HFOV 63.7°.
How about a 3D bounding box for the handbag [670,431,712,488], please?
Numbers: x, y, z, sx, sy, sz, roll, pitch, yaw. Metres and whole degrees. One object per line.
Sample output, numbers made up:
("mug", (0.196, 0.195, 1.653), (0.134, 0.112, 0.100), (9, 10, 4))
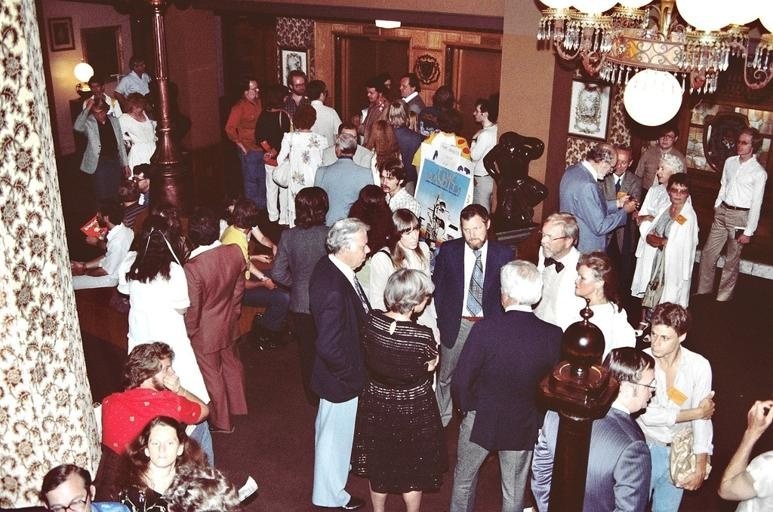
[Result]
("handbag", (2.070, 1.408, 4.312), (0.164, 0.413, 0.109), (0, 14, -14))

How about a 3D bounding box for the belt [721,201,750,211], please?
("belt", (4.243, -0.599, 7.553), (0.297, 0.079, 0.057), (13, 17, 32))

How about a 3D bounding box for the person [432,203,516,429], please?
("person", (0.739, 0.639, 5.452), (0.671, 2.126, 0.658), (3, 19, 3))

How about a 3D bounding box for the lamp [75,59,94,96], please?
("lamp", (-5.780, -3.425, 11.861), (0.300, 0.545, 0.330), (1, 13, 1))

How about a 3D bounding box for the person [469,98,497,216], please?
("person", (1.308, -1.339, 8.394), (0.378, 1.521, 0.478), (5, 13, 8))

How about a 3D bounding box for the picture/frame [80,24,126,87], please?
("picture/frame", (-6.354, -4.517, 13.775), (1.208, 1.138, 0.070), (5, 9, 24))

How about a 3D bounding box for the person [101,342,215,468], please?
("person", (-1.627, 1.113, 4.423), (0.633, 0.959, 0.562), (3, 18, -5))

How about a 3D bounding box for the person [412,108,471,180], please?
("person", (0.650, -1.397, 7.651), (0.657, 0.771, 1.321), (4, 14, 2))

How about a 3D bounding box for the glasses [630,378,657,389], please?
("glasses", (1.585, 0.791, 3.845), (0.150, 0.052, 0.152), (5, 6, 30))

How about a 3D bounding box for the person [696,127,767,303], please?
("person", (4.251, -0.472, 7.636), (0.573, 2.132, 0.361), (14, 17, 39))

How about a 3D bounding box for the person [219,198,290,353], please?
("person", (-1.367, 0.269, 6.359), (0.851, 1.813, 0.785), (0, 45, -13))

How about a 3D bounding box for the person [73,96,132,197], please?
("person", (-4.114, -1.532, 8.944), (0.664, 1.480, 0.527), (-3, 15, -25))

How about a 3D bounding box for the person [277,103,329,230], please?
("person", (-1.199, -1.266, 8.526), (0.717, 1.839, 0.546), (0, 40, -11))

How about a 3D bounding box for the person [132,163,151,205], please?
("person", (-2.784, -0.794, 7.003), (0.182, 0.514, 0.700), (-2, 15, -22))

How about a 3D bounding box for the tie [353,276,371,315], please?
("tie", (-0.216, 0.307, 4.842), (0.058, 0.240, 0.238), (-20, -5, -1))

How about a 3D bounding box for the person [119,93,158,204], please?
("person", (-3.730, -1.696, 9.254), (0.516, 1.515, 0.446), (-21, 50, -40))

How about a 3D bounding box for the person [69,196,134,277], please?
("person", (-3.151, -0.178, 6.807), (0.555, 0.857, 0.471), (18, 46, -10))

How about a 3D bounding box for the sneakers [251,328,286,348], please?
("sneakers", (-1.319, 0.900, 6.836), (0.250, 0.259, 0.228), (4, 4, 18))

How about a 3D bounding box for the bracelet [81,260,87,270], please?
("bracelet", (-3.154, 0.102, 6.435), (0.061, 0.090, 0.027), (9, -8, 4))
